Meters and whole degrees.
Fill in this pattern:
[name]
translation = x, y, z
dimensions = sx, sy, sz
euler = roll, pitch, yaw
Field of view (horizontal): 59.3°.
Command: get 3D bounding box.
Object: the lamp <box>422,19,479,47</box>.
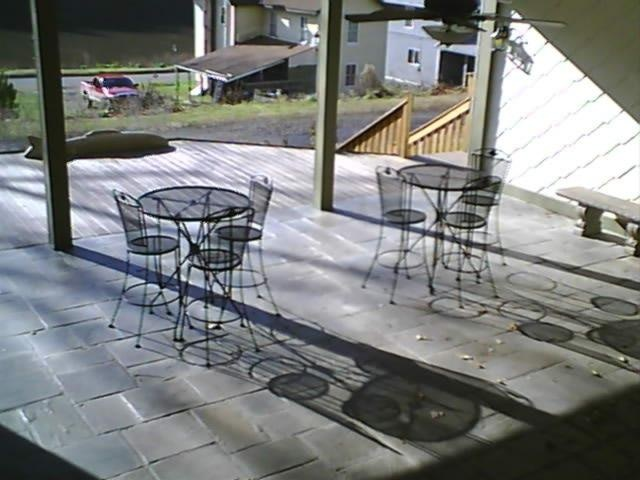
[lamp]
translation = 0.957, -1.540, 4.214
dimensions = 0.313, 0.104, 0.278
euler = 10, 23, 10
